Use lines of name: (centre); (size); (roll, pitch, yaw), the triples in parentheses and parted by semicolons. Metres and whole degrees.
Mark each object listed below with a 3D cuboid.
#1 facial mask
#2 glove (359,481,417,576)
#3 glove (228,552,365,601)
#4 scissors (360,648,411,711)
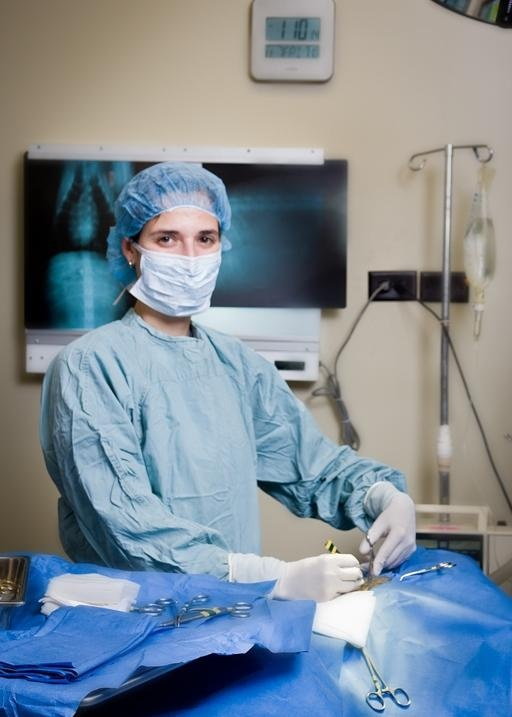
facial mask: (-0.162, -0.153, 1.374); (0.152, 0.141, 0.118); (-8, 13, -44)
glove: (0.212, 0.276, 1.154); (0.048, 0.096, 0.133); (-23, 10, 42)
glove: (0.041, 0.290, 0.936); (0.180, 0.062, 0.132); (0, 5, 13)
scissors: (0.135, 0.335, 0.755); (0.046, 0.027, 0.085); (-1, 5, 5)
